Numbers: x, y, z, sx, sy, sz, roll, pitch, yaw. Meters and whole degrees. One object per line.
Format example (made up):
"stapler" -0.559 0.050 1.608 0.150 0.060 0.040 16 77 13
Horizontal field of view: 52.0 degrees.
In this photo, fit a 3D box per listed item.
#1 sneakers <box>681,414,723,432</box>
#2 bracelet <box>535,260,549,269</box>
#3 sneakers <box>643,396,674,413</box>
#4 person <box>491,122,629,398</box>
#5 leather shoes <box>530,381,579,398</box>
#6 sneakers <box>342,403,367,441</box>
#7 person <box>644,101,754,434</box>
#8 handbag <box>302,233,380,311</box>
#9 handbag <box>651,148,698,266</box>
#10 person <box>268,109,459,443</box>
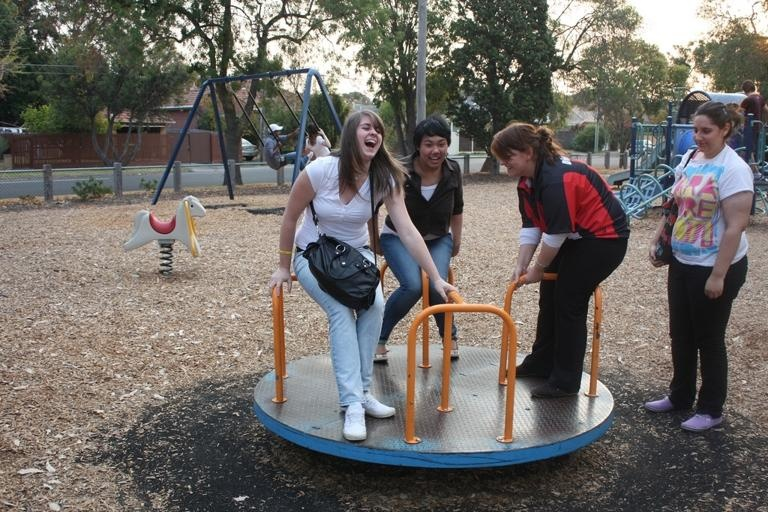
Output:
"sneakers" 2.978 1.567 7.427 0.395 0.152 0.159 -1 -2 -18
"bracelet" 1.410 0.079 7.065 0.116 0.084 0.068 2 10 15
"sneakers" 2.682 1.461 7.710 0.251 0.123 0.126 2 -2 -2
"person" 1.610 0.049 7.194 1.141 2.527 0.500 3 10 18
"leather shoes" 1.577 1.261 7.365 0.436 0.194 0.167 2 -5 3
"sneakers" -0.257 1.466 6.788 0.132 0.154 0.362 0 7 -5
"person" 2.930 0.103 7.337 0.798 3.048 0.531 4 11 25
"handbag" -0.334 0.195 6.943 0.712 0.432 0.296 37 -10 9
"handbag" 2.787 -0.469 7.515 0.300 1.244 0.340 14 2 4
"person" -0.291 0.106 6.982 1.412 2.770 0.842 -2 10 -10
